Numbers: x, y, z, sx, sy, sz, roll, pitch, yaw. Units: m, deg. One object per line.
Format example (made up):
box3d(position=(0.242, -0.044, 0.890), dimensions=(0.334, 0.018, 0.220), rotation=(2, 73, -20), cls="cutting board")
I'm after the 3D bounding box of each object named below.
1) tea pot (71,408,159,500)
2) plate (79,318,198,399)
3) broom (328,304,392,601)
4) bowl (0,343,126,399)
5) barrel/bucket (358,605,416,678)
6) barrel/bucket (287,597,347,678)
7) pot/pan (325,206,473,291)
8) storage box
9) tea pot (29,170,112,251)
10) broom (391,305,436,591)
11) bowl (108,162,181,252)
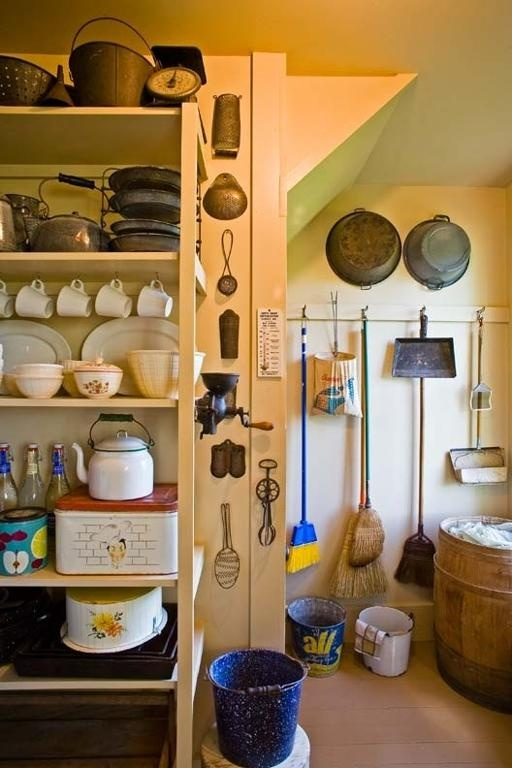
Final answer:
box3d(position=(-0.411, 0.205, 1.990), dimensions=(0.238, 0.241, 0.182), rotation=(-1, 8, -5), cls="tea pot")
box3d(position=(-0.346, -0.078, 2.042), dimensions=(0.313, 0.125, 0.288), rotation=(-15, -32, 25), cls="plate")
box3d(position=(0.442, 0.296, 2.973), dimensions=(0.241, 1.222, 0.398), rotation=(0, 12, 0), cls="broom")
box3d(position=(-0.544, -0.020, 1.895), dimensions=(0.279, 0.112, 0.168), rotation=(-3, -4, -1), cls="bowl")
box3d(position=(0.535, 1.081, 2.830), dimensions=(0.227, 0.188, 0.189), rotation=(2, 6, -21), cls="barrel/bucket")
box3d(position=(0.254, 1.051, 2.835), dimensions=(0.252, 0.216, 0.270), rotation=(1, 7, 0), cls="barrel/bucket")
box3d(position=(0.616, -0.594, 2.860), dimensions=(0.679, 0.333, 0.137), rotation=(0, 2, 1), cls="pot/pan")
box3d(position=(-0.385, 0.408, 2.038), dimensions=(0.402, 0.206, 0.395), rotation=(-2, 7, -19), cls="storage box")
box3d(position=(-0.533, -0.492, 2.015), dimensions=(0.233, 0.245, 0.225), rotation=(5, 3, 0), cls="tea pot")
box3d(position=(0.733, 0.447, 3.051), dimensions=(0.163, 0.937, 0.252), rotation=(3, 12, 15), cls="broom")
box3d(position=(-0.314, -0.495, 1.925), dimensions=(0.222, 0.235, 0.215), rotation=(0, 12, 0), cls="bowl")
